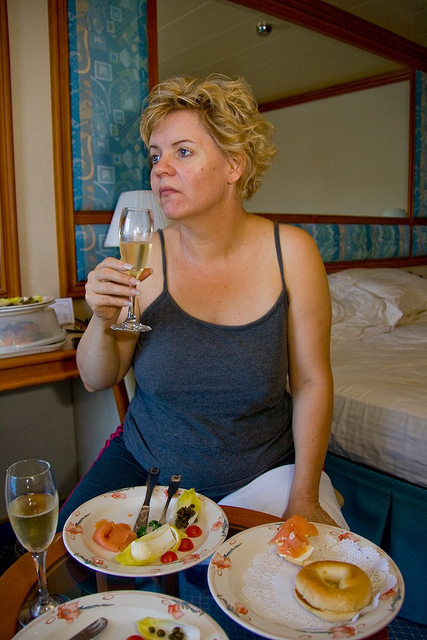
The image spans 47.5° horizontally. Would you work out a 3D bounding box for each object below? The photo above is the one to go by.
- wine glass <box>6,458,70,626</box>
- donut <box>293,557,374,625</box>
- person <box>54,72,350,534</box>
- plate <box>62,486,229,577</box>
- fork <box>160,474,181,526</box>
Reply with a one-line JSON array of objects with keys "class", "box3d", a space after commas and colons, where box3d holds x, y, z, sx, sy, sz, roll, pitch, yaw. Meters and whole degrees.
[{"class": "wine glass", "box3d": [-0.237, 0.281, 0.656, 0.080, 0.179, 0.222, 0, 5, -17]}, {"class": "donut", "box3d": [0.150, 0.341, 0.609, 0.098, 0.040, 0.093, 5, 6, 37]}, {"class": "person", "box3d": [-0.003, -0.071, 1.098, 0.584, 0.963, 0.392, 1, 5, 3]}, {"class": "plate", "box3d": [-0.106, 0.325, 0.760, 0.257, 0.027, 0.253, 2, 5, 14]}, {"class": "fork", "box3d": [-0.076, 0.307, 0.832, 0.014, 0.007, 0.092, 23, 39, -8]}]
